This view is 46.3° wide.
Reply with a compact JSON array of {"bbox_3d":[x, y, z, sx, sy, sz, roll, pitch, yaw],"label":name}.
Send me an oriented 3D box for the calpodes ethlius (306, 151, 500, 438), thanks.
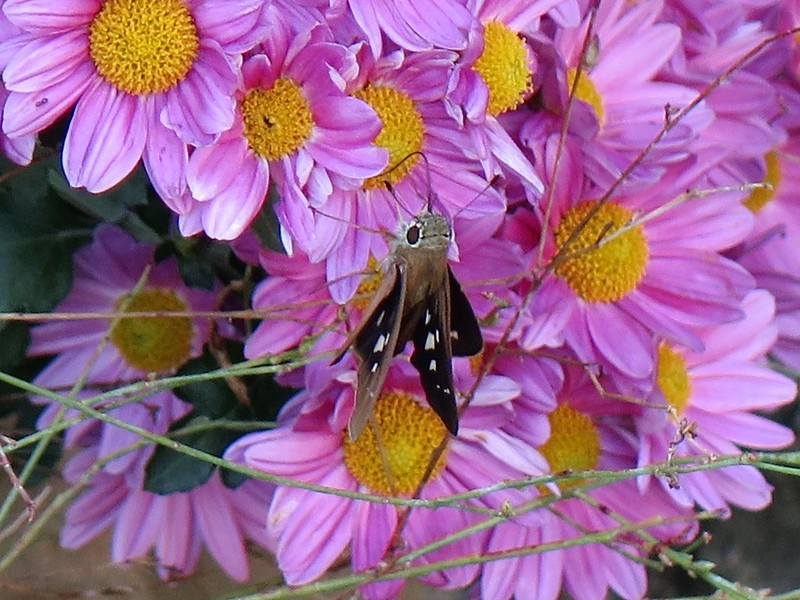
[{"bbox_3d":[-0.009,-0.006,0.795,0.136,0.123,0.312,7,79,16],"label":"calpodes ethlius"}]
